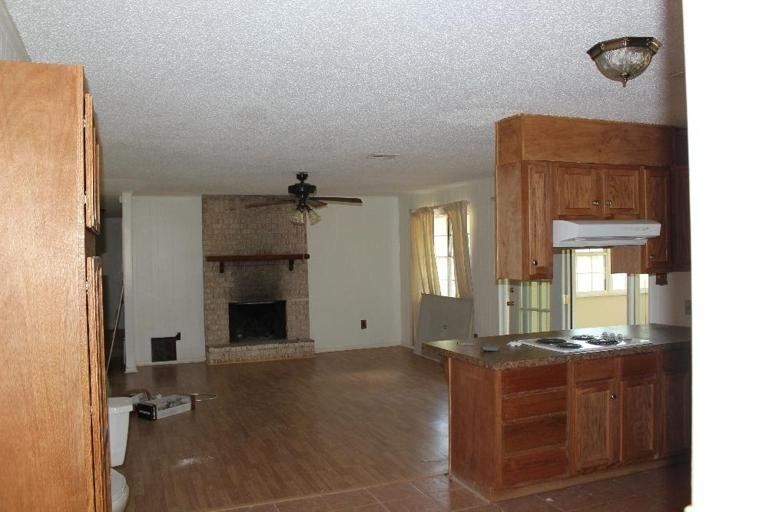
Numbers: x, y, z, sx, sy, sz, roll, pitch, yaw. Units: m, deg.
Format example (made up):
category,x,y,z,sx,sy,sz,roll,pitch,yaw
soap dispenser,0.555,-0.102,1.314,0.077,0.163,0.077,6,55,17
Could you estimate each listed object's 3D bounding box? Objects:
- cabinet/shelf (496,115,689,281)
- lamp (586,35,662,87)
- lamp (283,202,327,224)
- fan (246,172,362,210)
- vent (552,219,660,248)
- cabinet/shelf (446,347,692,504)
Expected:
category,x,y,z,sx,sy,sz,roll,pitch,yaw
cabinet/shelf,1.651,-0.409,4.804,1.972,1.119,0.472,-4,7,-33
lamp,1.215,-0.991,3.090,0.292,0.156,0.273,-2,5,11
lamp,-1.098,-0.579,8.154,0.548,0.226,0.511,0,4,10
fan,-1.036,-0.739,6.930,1.032,0.349,0.987,0,3,-1
vent,1.635,-0.178,4.433,0.892,0.210,0.256,-3,-2,-25
cabinet/shelf,1.547,1.219,4.896,2.220,0.908,0.750,1,-3,-29
